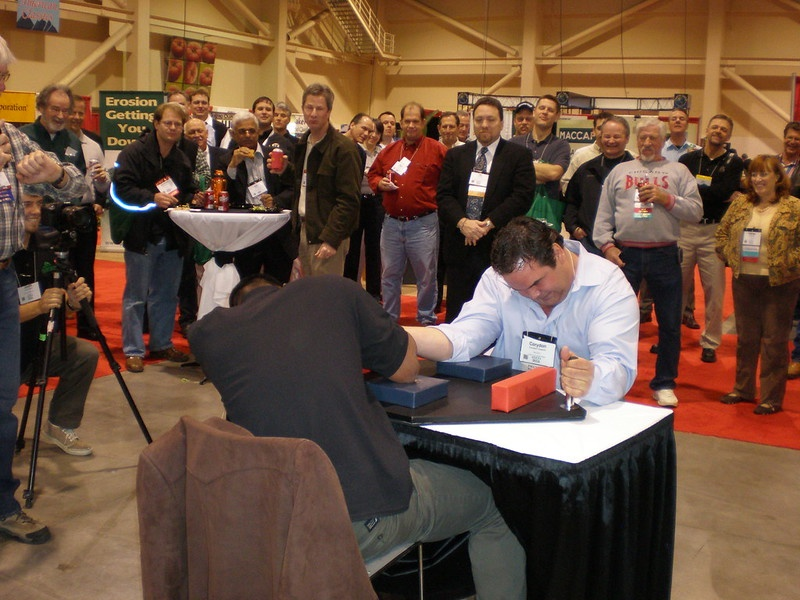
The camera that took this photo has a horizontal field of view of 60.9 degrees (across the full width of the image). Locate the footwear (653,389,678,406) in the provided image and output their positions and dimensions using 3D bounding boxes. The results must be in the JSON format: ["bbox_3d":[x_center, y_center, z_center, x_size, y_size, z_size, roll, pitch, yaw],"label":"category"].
[{"bbox_3d":[1.888,0.689,4.823,0.098,0.102,0.236,-5,-7,4],"label":"footwear"}]

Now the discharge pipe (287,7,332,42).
[{"bbox_3d":[-2.277,-6.730,16.652,0.547,0.940,1.577,9,13,23],"label":"discharge pipe"}]

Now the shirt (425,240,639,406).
[{"bbox_3d":[0.655,0.069,2.813,0.644,0.563,0.768,19,40,36],"label":"shirt"}]

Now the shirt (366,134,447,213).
[{"bbox_3d":[0.089,-1.109,6.167,0.740,0.746,0.391,2,7,14],"label":"shirt"}]

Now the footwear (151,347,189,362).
[{"bbox_3d":[-1.899,0.452,5.659,0.344,0.159,0.131,-2,0,7],"label":"footwear"}]

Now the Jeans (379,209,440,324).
[{"bbox_3d":[0.091,-0.329,6.446,0.522,1.225,0.382,5,27,8],"label":"Jeans"}]

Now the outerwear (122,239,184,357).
[{"bbox_3d":[-2.002,-0.052,5.644,0.429,0.364,1.597,-2,39,-17],"label":"outerwear"}]

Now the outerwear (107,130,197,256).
[{"bbox_3d":[-1.935,-0.841,5.353,0.627,0.937,0.396,0,12,-19],"label":"outerwear"}]

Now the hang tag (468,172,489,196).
[{"bbox_3d":[0.571,-0.831,4.913,0.139,0.172,0.049,6,12,12],"label":"hang tag"}]

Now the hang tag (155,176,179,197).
[{"bbox_3d":[-1.774,-0.860,5.186,0.152,0.157,0.046,-20,-5,3],"label":"hang tag"}]

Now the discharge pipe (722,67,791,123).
[{"bbox_3d":[7.953,-4.608,15.195,1.514,1.162,0.660,10,13,27],"label":"discharge pipe"}]

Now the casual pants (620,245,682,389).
[{"bbox_3d":[1.805,0.115,4.958,0.478,1.178,0.320,3,16,27],"label":"casual pants"}]

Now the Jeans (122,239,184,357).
[{"bbox_3d":[-2.004,-0.059,5.637,0.425,0.360,1.559,-4,40,-15],"label":"Jeans"}]

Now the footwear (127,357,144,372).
[{"bbox_3d":[-2.062,0.503,5.308,0.074,0.077,0.176,-4,3,-36],"label":"footwear"}]
